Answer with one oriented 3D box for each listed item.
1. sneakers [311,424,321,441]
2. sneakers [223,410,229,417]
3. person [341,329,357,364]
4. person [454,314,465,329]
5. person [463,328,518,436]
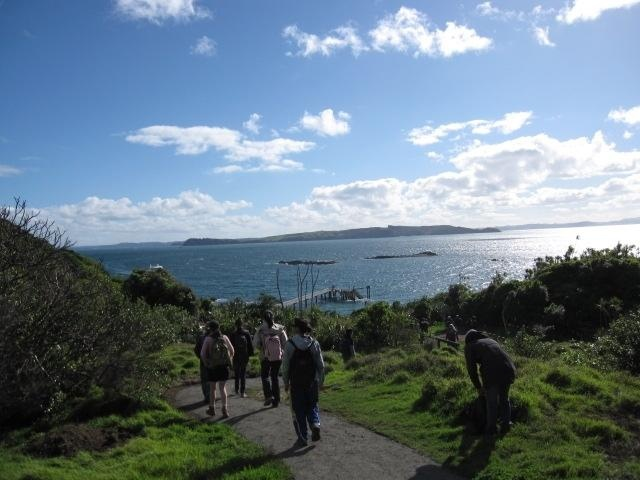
[{"bbox_3d":[-0.099,3.680,8.154,0.150,0.323,0.132,0,-1,6],"label":"sneakers"},{"bbox_3d":[-2.143,3.919,9.669,0.110,0.185,0.102,21,-41,-36],"label":"sneakers"},{"bbox_3d":[1.018,3.816,15.667,0.452,1.331,1.324,0,-2,5],"label":"person"},{"bbox_3d":[13.483,7.897,41.136,1.220,1.233,0.332,25,-20,-14],"label":"person"},{"bbox_3d":[3.310,2.745,8.368,0.905,1.896,0.607,-1,-1,14],"label":"person"}]
